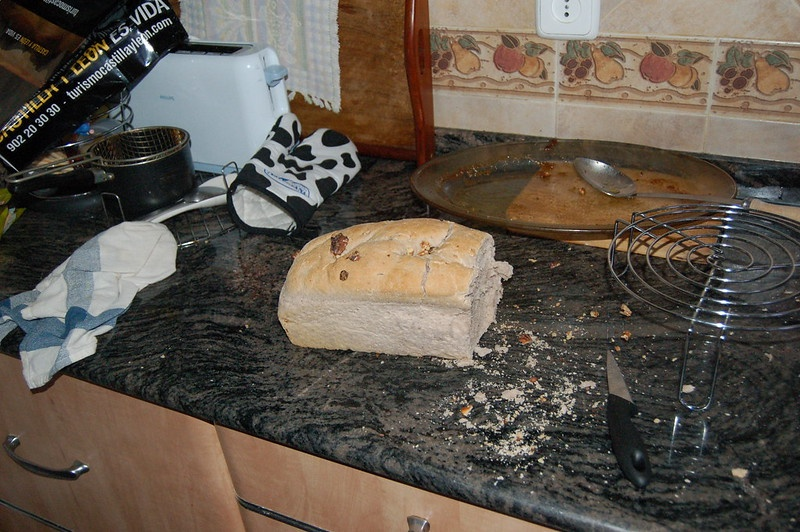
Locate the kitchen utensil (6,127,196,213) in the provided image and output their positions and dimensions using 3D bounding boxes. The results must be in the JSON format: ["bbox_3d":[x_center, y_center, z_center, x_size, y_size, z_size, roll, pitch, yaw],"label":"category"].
[{"bbox_3d":[-0.619,-0.183,1.484,0.377,0.154,0.208,-28,19,-22],"label":"kitchen utensil"}]

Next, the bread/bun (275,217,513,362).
[{"bbox_3d":[-0.003,0.023,1.182,0.359,0.174,0.216,8,35,13],"label":"bread/bun"}]

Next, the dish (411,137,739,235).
[{"bbox_3d":[0.348,-0.176,1.419,0.430,0.045,0.308,1,32,6],"label":"dish"}]

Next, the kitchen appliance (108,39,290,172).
[{"bbox_3d":[-0.501,-0.385,1.637,0.491,0.300,0.157,6,30,13],"label":"kitchen appliance"}]
